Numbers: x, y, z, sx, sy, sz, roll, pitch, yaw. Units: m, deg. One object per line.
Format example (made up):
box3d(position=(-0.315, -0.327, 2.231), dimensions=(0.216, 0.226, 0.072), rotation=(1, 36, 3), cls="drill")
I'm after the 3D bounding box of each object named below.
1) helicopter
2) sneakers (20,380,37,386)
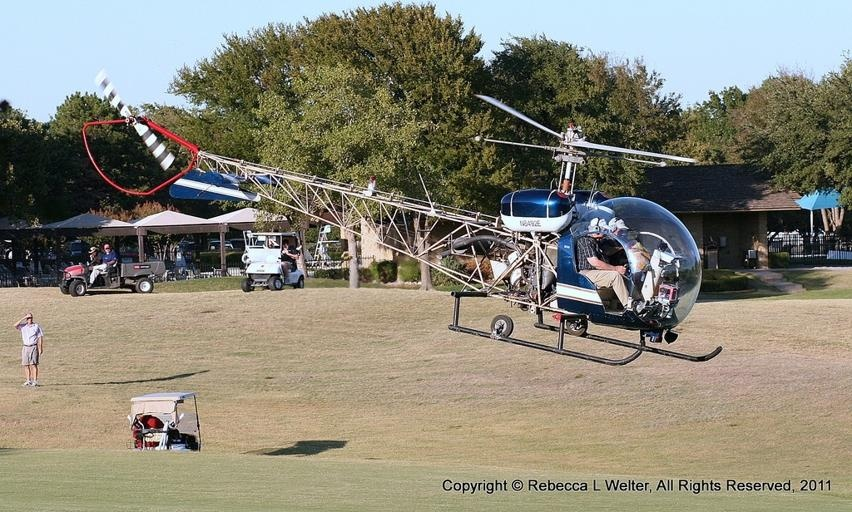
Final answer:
box3d(position=(-0.472, -1.865, 64.163), dimensions=(32.594, 9.782, 9.560), rotation=(7, 10, 31), cls="helicopter")
box3d(position=(-17.141, 5.552, 62.040), dimensions=(0.648, 0.228, 0.253), rotation=(5, -2, 1), cls="sneakers")
